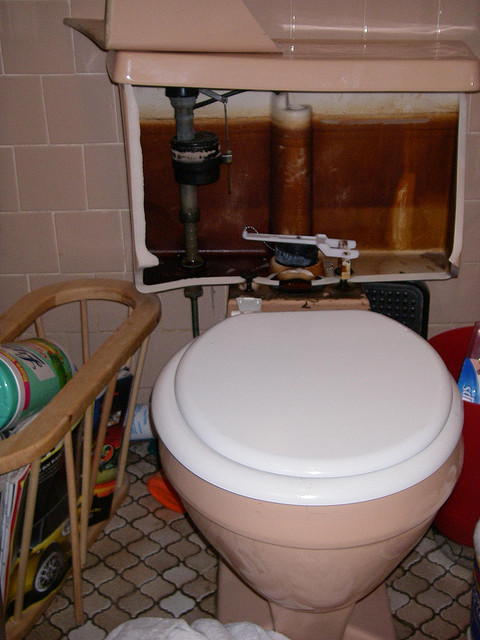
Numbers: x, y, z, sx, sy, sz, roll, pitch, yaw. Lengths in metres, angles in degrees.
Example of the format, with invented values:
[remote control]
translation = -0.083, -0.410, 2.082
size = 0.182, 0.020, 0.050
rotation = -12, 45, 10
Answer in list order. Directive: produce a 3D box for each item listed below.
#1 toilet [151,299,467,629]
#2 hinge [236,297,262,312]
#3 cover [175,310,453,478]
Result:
[toilet]
translation = 0.089, 0.242, 0.696
size = 0.336, 0.362, 0.364
rotation = -3, 23, -1
[hinge]
translation = 0.015, -0.028, 0.919
size = 0.036, 0.024, 0.012
rotation = 2, -5, 4
[cover]
translation = 0.088, 0.009, 0.626
size = 0.327, 0.175, 0.241
rotation = 1, 22, 1
